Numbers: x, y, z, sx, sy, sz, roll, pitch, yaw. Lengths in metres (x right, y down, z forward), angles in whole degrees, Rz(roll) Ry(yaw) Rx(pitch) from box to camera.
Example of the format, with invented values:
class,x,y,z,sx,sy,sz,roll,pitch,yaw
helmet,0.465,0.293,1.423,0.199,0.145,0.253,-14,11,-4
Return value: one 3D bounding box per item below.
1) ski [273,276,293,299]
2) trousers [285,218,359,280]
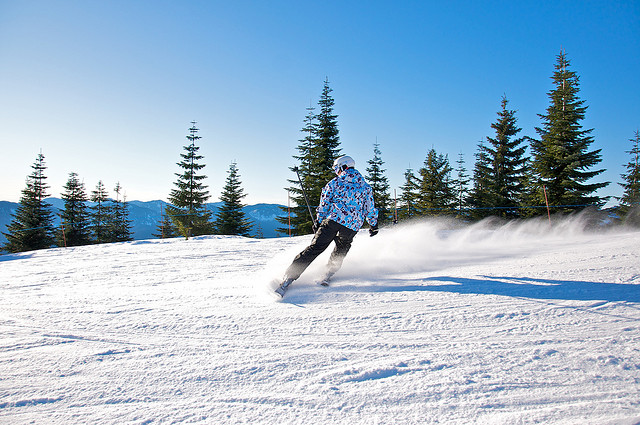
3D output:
class,x,y,z,sx,sy,sz,roll,pitch,yaw
ski,-0.773,1.528,10.658,0.159,0.151,0.514,29,25,3
trousers,-0.018,0.885,11.244,1.095,1.538,0.490,42,-17,-4
